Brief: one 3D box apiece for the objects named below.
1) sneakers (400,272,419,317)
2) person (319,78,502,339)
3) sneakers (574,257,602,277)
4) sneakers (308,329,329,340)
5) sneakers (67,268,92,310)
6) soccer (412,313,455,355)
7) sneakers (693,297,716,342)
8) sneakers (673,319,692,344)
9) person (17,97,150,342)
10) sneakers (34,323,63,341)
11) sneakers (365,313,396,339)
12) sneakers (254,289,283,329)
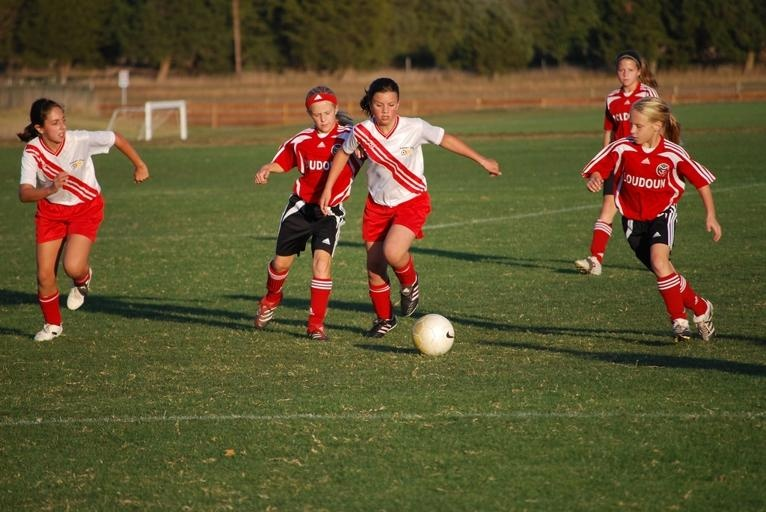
[{"bbox_3d":[0.267,0.442,13.806,0.180,0.474,0.206,8,6,30],"label":"sneakers"},{"bbox_3d":[0.072,-0.535,13.405,1.564,2.867,0.639,-2,7,-22],"label":"person"},{"bbox_3d":[2.587,0.123,15.086,0.433,0.203,0.158,9,6,-11],"label":"sneakers"},{"bbox_3d":[-0.743,0.870,13.392,0.119,0.064,0.192,0,4,-19],"label":"sneakers"},{"bbox_3d":[-3.643,0.386,14.281,0.214,0.189,0.540,18,40,-16],"label":"sneakers"},{"bbox_3d":[0.624,0.853,13.125,0.548,0.424,0.434,2,-27,14],"label":"soccer"},{"bbox_3d":[3.491,0.692,13.236,0.262,0.509,0.188,10,-11,-39],"label":"sneakers"},{"bbox_3d":[3.259,0.797,13.135,0.199,0.255,0.147,2,7,12],"label":"sneakers"},{"bbox_3d":[-3.558,-0.420,13.592,1.166,2.686,0.953,-5,9,-39],"label":"person"},{"bbox_3d":[-3.768,0.860,13.558,0.310,0.113,0.159,-1,5,-31],"label":"sneakers"},{"bbox_3d":[-0.021,0.783,13.596,0.431,0.151,0.158,-21,20,-40],"label":"sneakers"},{"bbox_3d":[-1.313,0.601,13.694,0.206,0.531,0.220,29,6,0],"label":"sneakers"}]
